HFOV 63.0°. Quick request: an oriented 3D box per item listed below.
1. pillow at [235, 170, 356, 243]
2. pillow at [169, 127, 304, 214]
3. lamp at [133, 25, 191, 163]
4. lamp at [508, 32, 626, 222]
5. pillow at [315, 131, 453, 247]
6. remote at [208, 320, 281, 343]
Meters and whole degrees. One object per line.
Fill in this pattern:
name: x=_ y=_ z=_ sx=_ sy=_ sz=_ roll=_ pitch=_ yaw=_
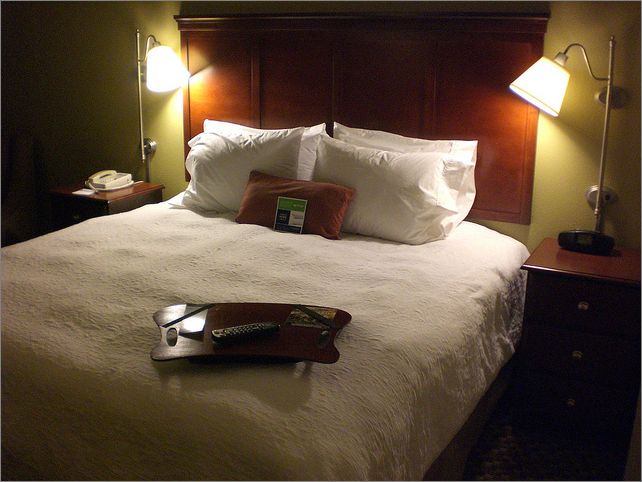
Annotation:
pillow: x=-0.127 y=-0.205 z=2.805 sx=0.752 sy=0.298 sz=0.312 roll=8 pitch=36 yaw=22
pillow: x=-0.474 y=-0.416 z=3.087 sx=0.674 sy=0.466 sz=0.227 roll=3 pitch=0 yaw=25
lamp: x=-1.146 y=-1.199 z=3.712 sx=0.320 sy=0.231 sz=0.783 roll=-3 pitch=-12 yaw=-17
lamp: x=1.255 y=-0.602 z=2.770 sx=0.527 sy=0.899 sz=0.251 roll=8 pitch=15 yaw=25
pillow: x=0.333 y=-0.253 z=2.806 sx=0.570 sy=0.352 sz=0.214 roll=11 pitch=13 yaw=20
remote: x=-0.246 y=0.293 z=1.747 sx=0.258 sy=0.051 sz=0.077 roll=-4 pitch=34 yaw=-17
